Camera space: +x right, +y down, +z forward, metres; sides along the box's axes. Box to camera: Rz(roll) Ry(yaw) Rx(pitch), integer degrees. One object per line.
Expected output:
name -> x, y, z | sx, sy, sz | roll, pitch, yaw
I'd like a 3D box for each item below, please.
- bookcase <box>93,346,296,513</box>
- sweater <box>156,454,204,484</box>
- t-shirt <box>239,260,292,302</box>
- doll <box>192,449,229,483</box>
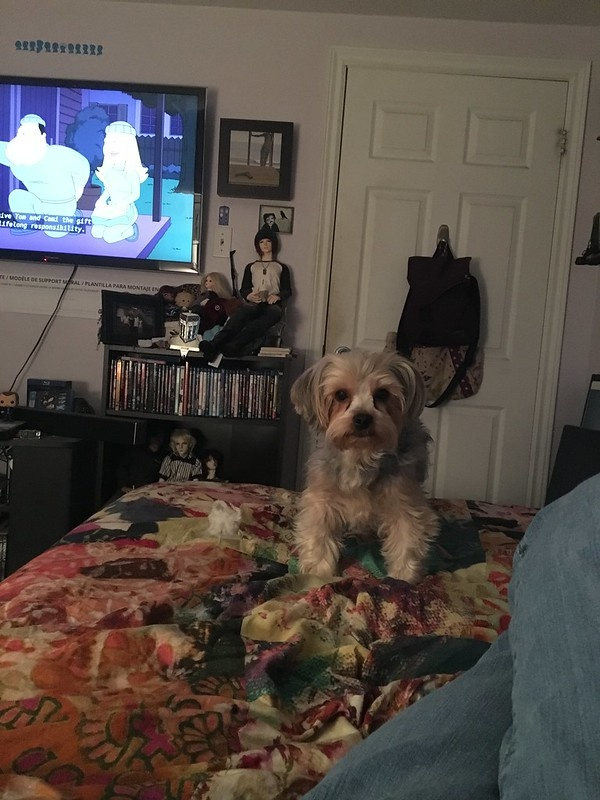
bookcase -> -0.459, 0.105, 2.789 | 0.766, 0.637, 0.229 | 4, -2, -1
sweater -> -0.529, 0.307, 2.902 | 0.155, 0.125, 0.051 | 2, -9, -11
t-shirt -> -0.160, -0.564, 3.119 | 0.245, 0.222, 0.131 | 0, -5, -2
doll -> -0.420, 0.309, 3.091 | 0.148, 0.131, 0.250 | 1, -11, -4
